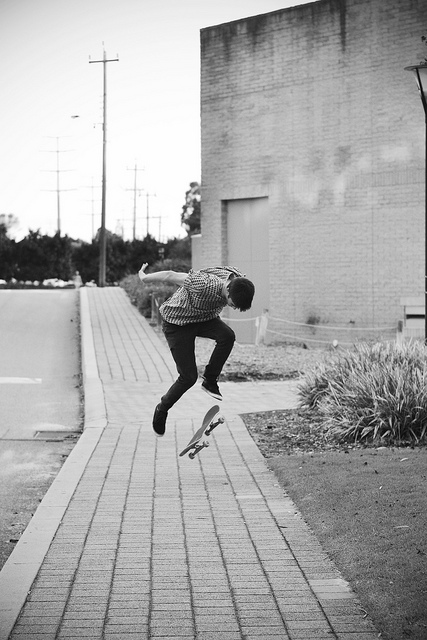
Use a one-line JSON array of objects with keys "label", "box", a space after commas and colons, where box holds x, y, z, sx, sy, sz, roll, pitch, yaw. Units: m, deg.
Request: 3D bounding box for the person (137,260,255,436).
[{"label": "person", "box": [-0.109, 0.288, 6.739, 1.081, 1.441, 0.928, 1, 2, 20]}]

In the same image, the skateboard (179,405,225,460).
[{"label": "skateboard", "box": [-0.038, 0.917, 6.659, 0.208, 0.108, 0.609, -36, 16, 51]}]
